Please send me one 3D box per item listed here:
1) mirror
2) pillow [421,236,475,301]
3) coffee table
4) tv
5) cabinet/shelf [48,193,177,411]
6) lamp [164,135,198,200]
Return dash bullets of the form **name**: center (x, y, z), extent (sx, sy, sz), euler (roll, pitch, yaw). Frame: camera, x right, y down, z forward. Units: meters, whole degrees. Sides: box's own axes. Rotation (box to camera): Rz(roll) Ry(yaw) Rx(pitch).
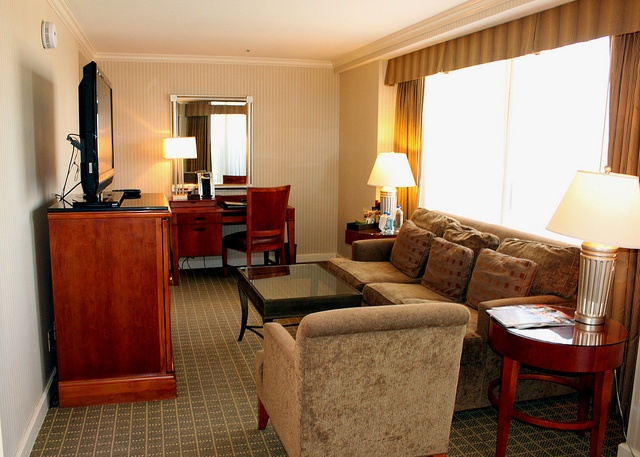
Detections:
- **mirror**: center (-1.476, -1.121, 6.439), extent (1.306, 1.770, 0.077), euler (-2, 8, -14)
- **pillow**: center (1.080, 0.343, 4.046), extent (0.199, 0.575, 0.444), euler (11, -3, -16)
- **coffee table**: center (-0.177, 0.483, 3.756), extent (0.592, 0.503, 0.845), euler (-2, 12, -19)
- **tv**: center (-1.632, -0.704, 3.569), extent (0.226, 0.924, 0.795), euler (-5, 13, -22)
- **cabinet/shelf**: center (-1.487, 0.473, 4.177), extent (1.036, 2.002, 1.895), euler (-3, 6, -17)
- **lamp**: center (-1.742, -0.771, 6.184), extent (0.411, 0.736, 0.676), euler (-3, 13, -17)
